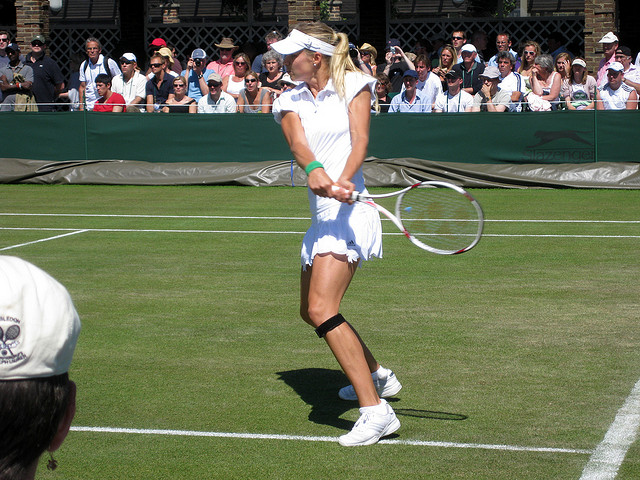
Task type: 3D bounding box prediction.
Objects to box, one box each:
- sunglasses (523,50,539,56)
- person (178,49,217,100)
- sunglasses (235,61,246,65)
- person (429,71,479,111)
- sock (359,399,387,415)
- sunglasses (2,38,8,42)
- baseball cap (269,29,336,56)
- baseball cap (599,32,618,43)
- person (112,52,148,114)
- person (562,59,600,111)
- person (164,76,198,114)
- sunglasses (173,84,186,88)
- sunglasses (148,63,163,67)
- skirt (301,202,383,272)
[{"bbox_3d":[3.467,-3.065,18.022,0.182,0.092,0.090,0,12,3],"label":"sunglasses"},{"bbox_3d":[-2.155,-2.873,19.825,0.637,0.948,0.578,8,5,-31],"label":"person"},{"bbox_3d":[-1.350,-3.038,18.867,0.235,0.056,0.127,3,12,19],"label":"sunglasses"},{"bbox_3d":[2.242,-2.455,18.195,0.679,0.749,0.489,-8,-22,23],"label":"person"},{"bbox_3d":[0.358,1.028,6.820,0.184,0.074,0.109,-5,12,-19],"label":"sock"},{"bbox_3d":[-6.145,-3.916,21.554,0.037,0.072,0.119,4,13,22],"label":"sunglasses"},{"bbox_3d":[-0.098,-1.217,6.884,0.300,0.074,0.174,9,-1,-5],"label":"baseball cap"},{"bbox_3d":[5.095,-3.532,19.143,0.255,0.107,0.381,1,9,32],"label":"baseball cap"},{"bbox_3d":[-3.340,-2.662,19.537,0.812,1.230,0.807,-4,14,-5],"label":"person"},{"bbox_3d":[4.267,-2.512,18.025,0.750,0.800,0.742,-3,17,6],"label":"person"},{"bbox_3d":[-2.453,-2.426,19.316,0.726,0.780,0.551,0,2,10],"label":"person"},{"bbox_3d":[-2.423,-2.694,19.227,0.185,0.056,0.092,-2,12,-9],"label":"sunglasses"},{"bbox_3d":[-2.897,-3.090,19.430,0.138,0.071,0.323,-8,13,-34],"label":"sunglasses"},{"bbox_3d":[0.115,-0.017,6.896,0.502,0.366,0.452,-1,0,-23],"label":"skirt"}]
